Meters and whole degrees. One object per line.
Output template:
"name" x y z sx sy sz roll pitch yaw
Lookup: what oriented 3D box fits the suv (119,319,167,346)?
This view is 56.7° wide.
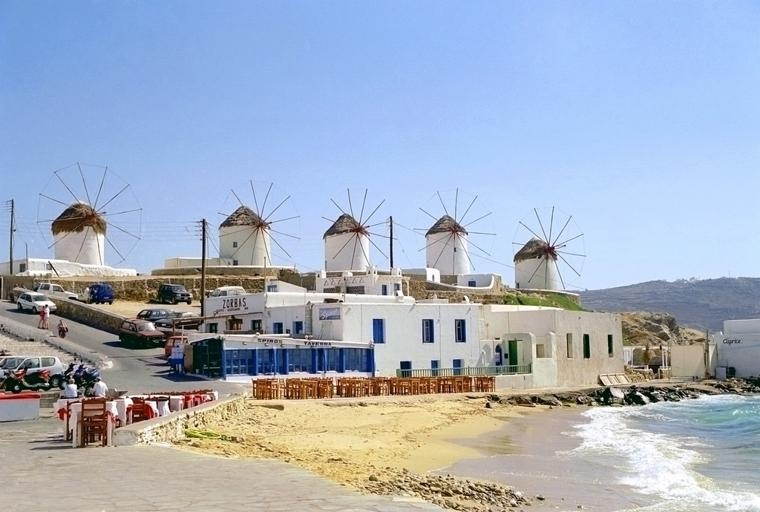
"suv" -17.612 5.593 51.646 1.783 1.470 3.045 -1 2 -45

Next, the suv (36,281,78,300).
"suv" -30.282 3.299 66.086 3.730 1.692 1.982 2 -1 6

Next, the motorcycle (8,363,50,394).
"motorcycle" -17.288 5.974 34.822 1.527 0.789 1.138 7 -13 -28

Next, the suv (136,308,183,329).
"suv" -17.560 5.154 55.829 3.146 1.253 1.897 -3 5 -40

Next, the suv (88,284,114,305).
"suv" -26.786 3.507 67.630 1.483 1.254 2.311 3 1 -39

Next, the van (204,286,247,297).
"van" -13.209 2.945 60.383 2.985 1.379 2.112 2 -2 15

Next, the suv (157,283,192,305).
"suv" -20.731 3.715 70.455 1.745 1.437 3.079 4 -8 -42

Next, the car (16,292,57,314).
"car" -29.624 3.967 61.040 3.390 1.406 1.995 -3 -4 43
